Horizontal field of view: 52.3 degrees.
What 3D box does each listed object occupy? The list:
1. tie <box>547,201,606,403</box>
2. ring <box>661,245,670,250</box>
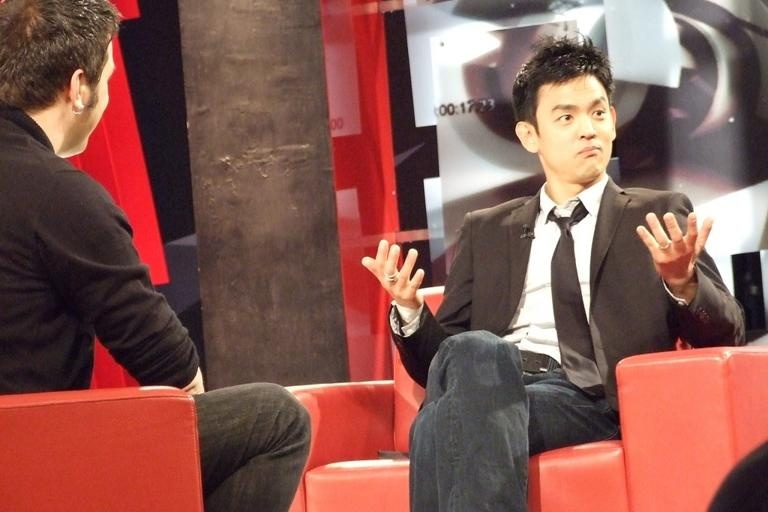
[{"bbox_3d":[0.589,0.154,2.431,0.143,0.502,0.042,-15,-20,32],"label":"tie"},{"bbox_3d":[0.765,-0.022,2.112,0.013,0.003,0.013,-11,-26,-6],"label":"ring"}]
